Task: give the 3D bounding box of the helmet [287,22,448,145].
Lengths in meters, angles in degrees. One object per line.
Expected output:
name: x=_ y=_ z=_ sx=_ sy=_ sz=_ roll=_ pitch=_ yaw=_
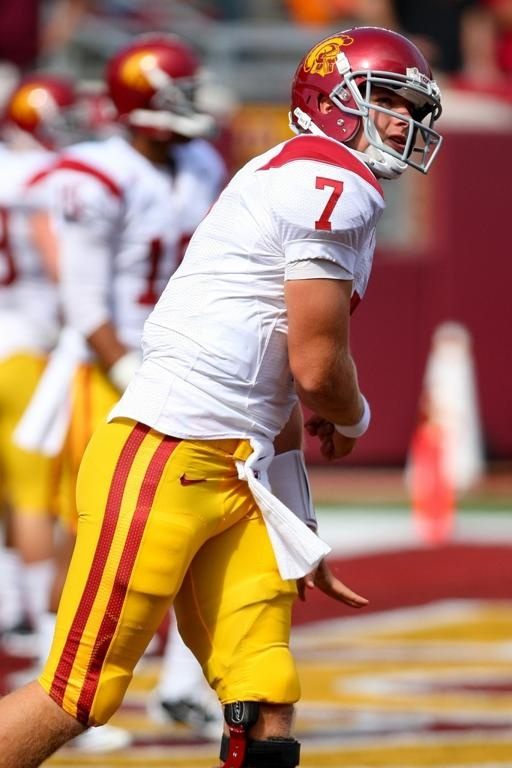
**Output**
helmet: x=0.154 y=-0.475 z=1.552 sx=0.271 sy=0.173 sz=0.205 roll=-6 pitch=-5 yaw=28
